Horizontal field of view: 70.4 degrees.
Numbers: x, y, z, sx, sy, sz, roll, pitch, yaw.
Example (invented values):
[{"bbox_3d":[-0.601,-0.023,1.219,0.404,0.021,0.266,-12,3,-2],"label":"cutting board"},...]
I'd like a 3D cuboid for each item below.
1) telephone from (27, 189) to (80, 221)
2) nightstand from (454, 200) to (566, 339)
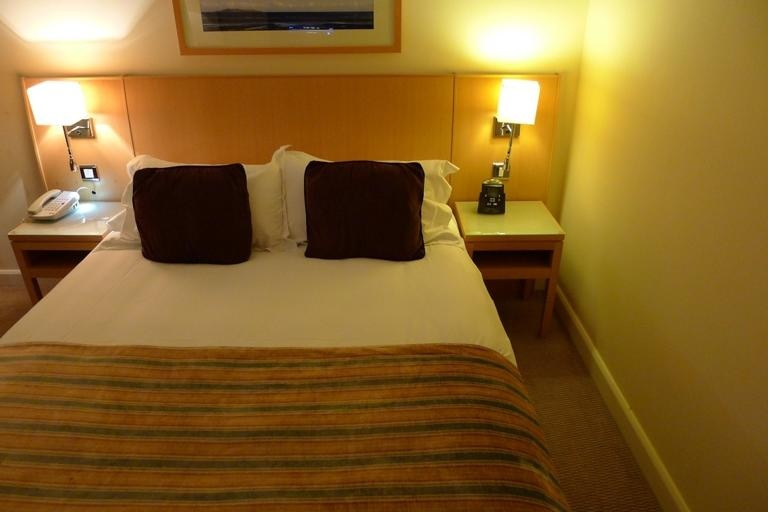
[{"bbox_3d":[-2.160,-0.337,3.555,0.203,0.095,0.261,1,40,8],"label":"telephone"},{"bbox_3d":[0.805,0.060,3.725,0.656,0.702,0.552,-2,29,-4],"label":"nightstand"}]
